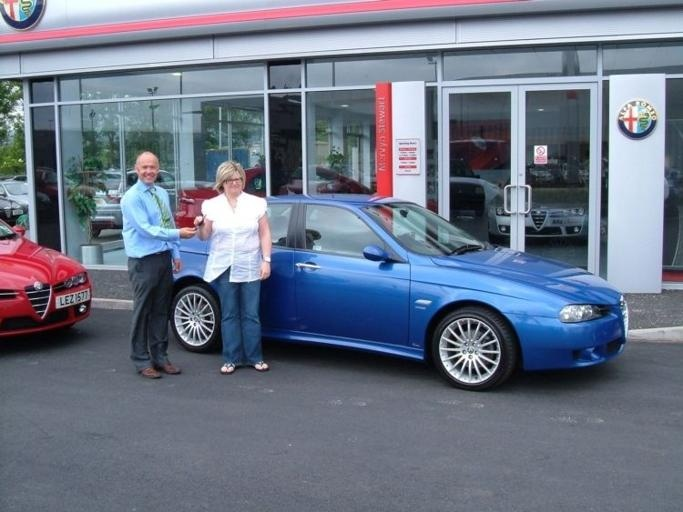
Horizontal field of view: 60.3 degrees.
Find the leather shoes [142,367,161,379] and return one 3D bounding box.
[{"bbox_3d":[-2.055,1.243,6.367,0.230,0.090,0.089,3,10,33],"label":"leather shoes"}]

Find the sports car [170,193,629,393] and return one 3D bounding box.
[{"bbox_3d":[0.525,0.371,6.953,4.985,1.796,2.121,1,6,24],"label":"sports car"}]

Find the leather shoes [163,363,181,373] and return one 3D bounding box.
[{"bbox_3d":[-1.888,1.234,6.499,0.249,0.088,0.089,1,6,33],"label":"leather shoes"}]

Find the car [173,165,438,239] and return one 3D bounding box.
[{"bbox_3d":[-1.370,-1.381,12.315,4.260,1.608,2.036,-2,9,3],"label":"car"}]

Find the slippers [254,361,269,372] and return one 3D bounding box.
[{"bbox_3d":[-0.879,1.209,6.517,0.085,0.058,0.148,-8,8,-43],"label":"slippers"}]

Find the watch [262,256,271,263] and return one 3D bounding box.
[{"bbox_3d":[-0.809,0.044,6.409,0.066,0.053,0.067,18,-16,-39],"label":"watch"}]

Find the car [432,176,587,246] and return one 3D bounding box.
[{"bbox_3d":[3.231,-0.806,10.822,1.947,0.645,1.212,1,13,7],"label":"car"}]
